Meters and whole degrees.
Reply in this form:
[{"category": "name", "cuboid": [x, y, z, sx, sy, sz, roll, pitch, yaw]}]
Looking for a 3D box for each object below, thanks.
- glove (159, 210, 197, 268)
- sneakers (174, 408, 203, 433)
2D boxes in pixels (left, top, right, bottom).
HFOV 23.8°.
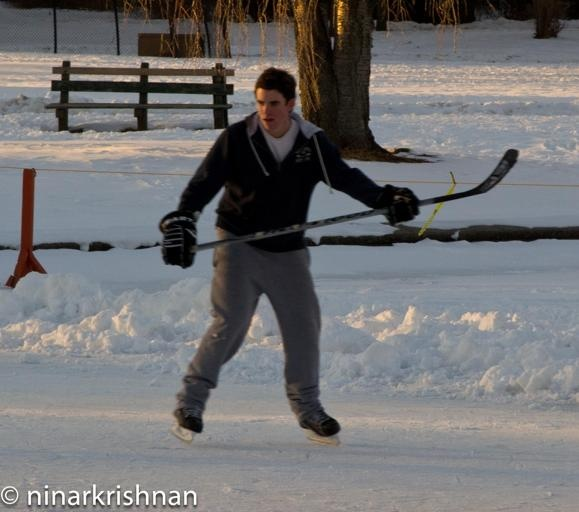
[{"category": "glove", "cuboid": [-0.932, -0.164, 11.776, 0.302, 0.489, 0.388, -9, 22, -20]}, {"category": "sneakers", "cuboid": [-0.873, 1.389, 11.782, 0.235, 0.099, 0.172, 30, -1, -18]}]
